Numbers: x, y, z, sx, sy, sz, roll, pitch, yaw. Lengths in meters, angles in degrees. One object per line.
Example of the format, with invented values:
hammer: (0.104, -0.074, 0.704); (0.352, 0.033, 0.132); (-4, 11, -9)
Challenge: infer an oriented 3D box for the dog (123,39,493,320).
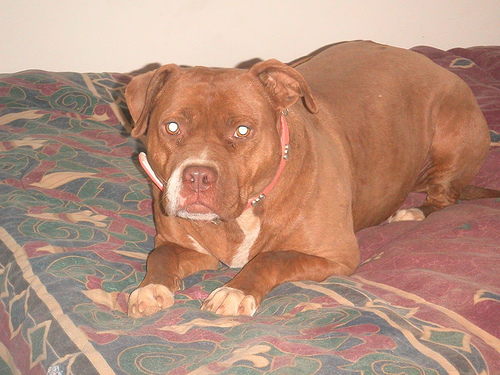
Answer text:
dog: (0.278, -0.174, 3.675); (1.597, 0.989, 2.715); (10, 24, 41)
